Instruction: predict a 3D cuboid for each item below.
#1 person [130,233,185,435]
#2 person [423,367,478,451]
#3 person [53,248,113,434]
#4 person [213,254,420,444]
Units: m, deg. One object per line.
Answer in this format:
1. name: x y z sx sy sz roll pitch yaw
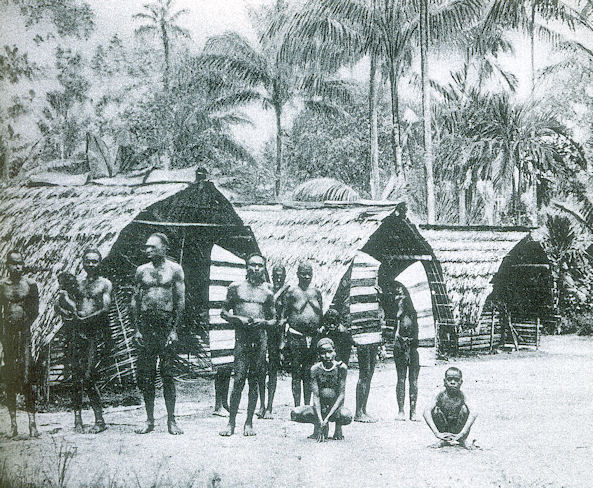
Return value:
1. person: -1.529 1.001 9.586 0.584 2.221 0.432 1 -9 -10
2. person: 1.811 1.901 10.065 0.851 1.238 0.826 0 -5 9
3. person: -2.382 1.082 9.613 0.584 2.027 0.262 2 -9 -16
4. person: -0.291 1.170 9.817 0.525 1.986 1.225 -8 -11 39
